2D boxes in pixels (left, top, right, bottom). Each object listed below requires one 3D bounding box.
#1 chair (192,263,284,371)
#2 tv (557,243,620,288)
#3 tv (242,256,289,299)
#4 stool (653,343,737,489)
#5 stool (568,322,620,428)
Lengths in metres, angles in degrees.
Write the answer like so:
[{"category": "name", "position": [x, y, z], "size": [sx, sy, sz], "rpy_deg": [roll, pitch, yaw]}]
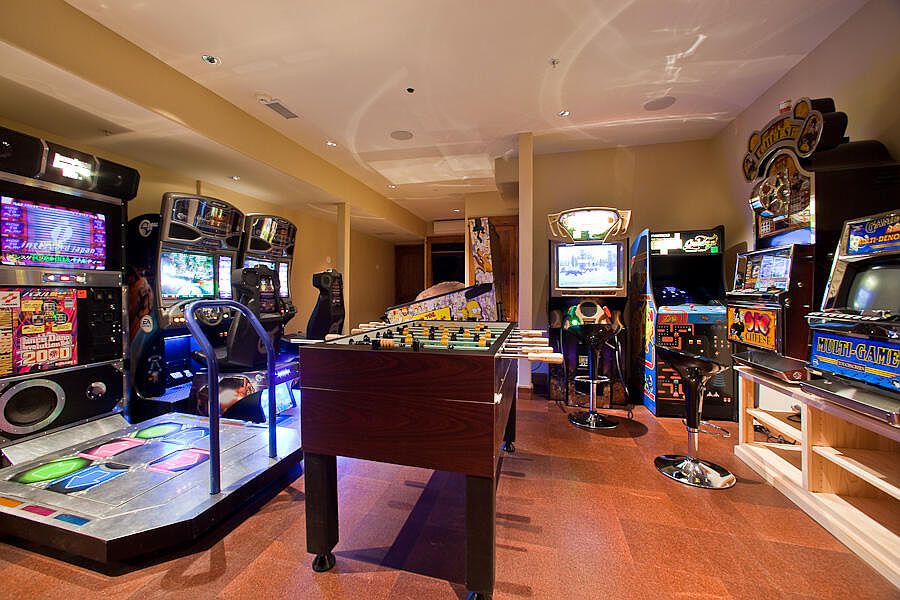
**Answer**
[{"category": "chair", "position": [-2.402, 0.236, 6.245], "size": [1.051, 1.167, 0.850], "rpy_deg": [-3, 0, 7]}, {"category": "tv", "position": [1.599, -0.400, 6.488], "size": [0.729, 0.517, 0.168], "rpy_deg": [0, 3, 5]}, {"category": "tv", "position": [-2.568, -0.319, 7.756], "size": [0.272, 0.635, 0.733], "rpy_deg": [6, 5, 35]}, {"category": "stool", "position": [2.281, 1.029, 5.145], "size": [0.706, 1.223, 0.659], "rpy_deg": [-3, 4, -41]}, {"category": "stool", "position": [1.572, 0.796, 6.149], "size": [0.519, 1.095, 0.682], "rpy_deg": [0, 3, 15]}]
